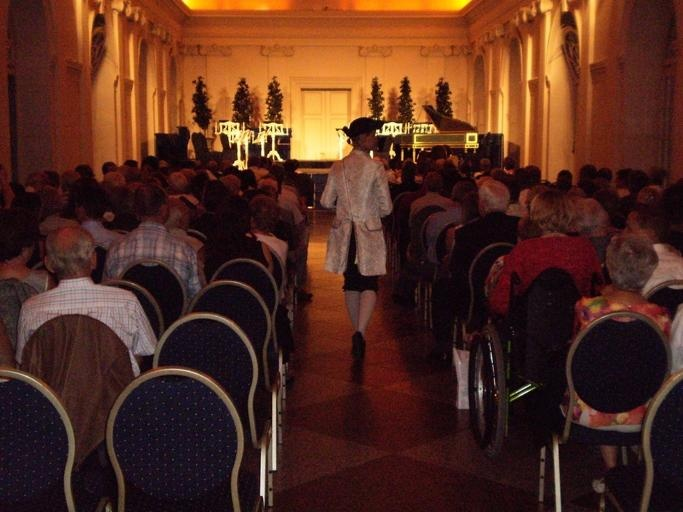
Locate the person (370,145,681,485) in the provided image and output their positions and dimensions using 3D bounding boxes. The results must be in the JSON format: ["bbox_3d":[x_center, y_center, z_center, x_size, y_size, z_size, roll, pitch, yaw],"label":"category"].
[{"bbox_3d":[0.876,0.246,3.191,0.796,1.714,1.592,1,14,5],"label":"person"}]

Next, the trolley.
[{"bbox_3d":[1.048,0.580,3.082,0.550,1.071,0.761,6,-5,8],"label":"trolley"}]

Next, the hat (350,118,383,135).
[{"bbox_3d":[0.213,-1.168,5.237,0.276,0.152,0.236,1,10,1],"label":"hat"}]
